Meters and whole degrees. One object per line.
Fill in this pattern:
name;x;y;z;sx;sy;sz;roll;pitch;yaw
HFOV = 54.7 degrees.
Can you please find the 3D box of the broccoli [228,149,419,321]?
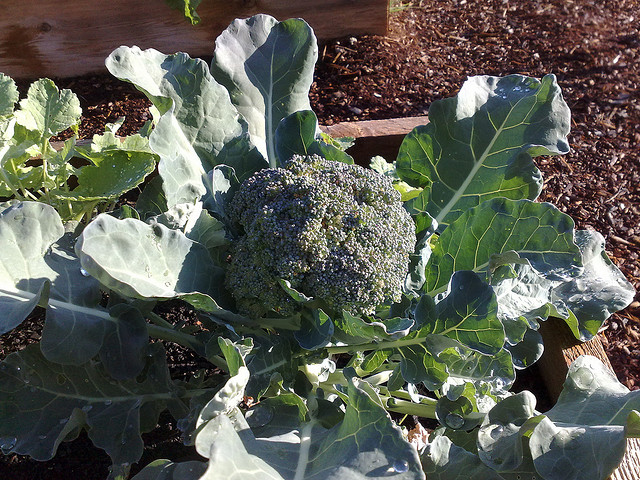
broccoli;0.020;-0.076;2.416;0.640;0.641;0.590;-2;98;2
